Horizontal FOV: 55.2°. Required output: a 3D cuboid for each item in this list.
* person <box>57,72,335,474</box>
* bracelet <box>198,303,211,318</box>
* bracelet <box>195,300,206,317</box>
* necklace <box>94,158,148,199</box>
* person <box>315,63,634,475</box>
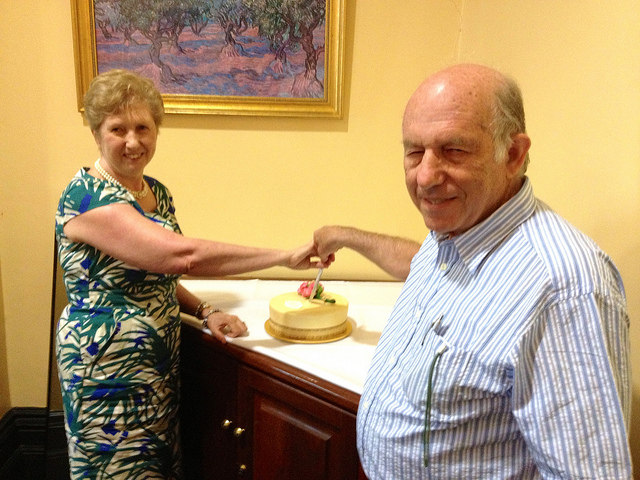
[{"bbox_3d":[-0.542,0.150,2.159,0.644,1.460,0.470,-8,8,-41],"label":"person"},{"bbox_3d":[-0.442,0.267,2.347,0.042,0.012,0.044,-45,16,45],"label":"bracelet"},{"bbox_3d":[-0.463,0.260,2.371,0.015,0.043,0.040,7,8,10],"label":"bracelet"},{"bbox_3d":[-0.705,-0.203,2.168,0.129,0.162,0.151,-1,13,-11],"label":"necklace"},{"bbox_3d":[0.423,0.104,1.597,0.697,1.106,0.290,1,7,29],"label":"person"}]
